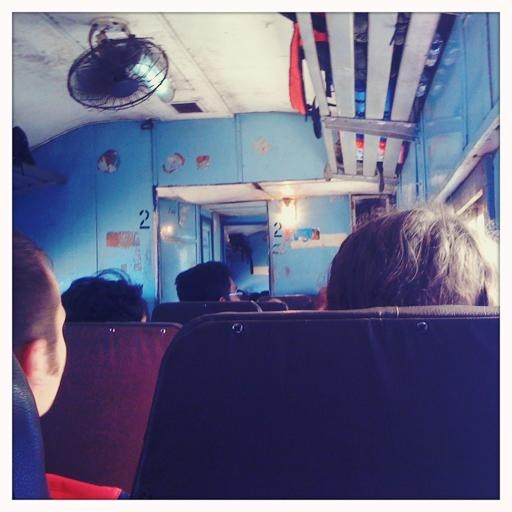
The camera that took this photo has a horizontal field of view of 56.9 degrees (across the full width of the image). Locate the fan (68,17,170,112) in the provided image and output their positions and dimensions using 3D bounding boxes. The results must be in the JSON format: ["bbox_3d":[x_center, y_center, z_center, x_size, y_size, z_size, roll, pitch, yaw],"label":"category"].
[{"bbox_3d":[-0.775,-1.105,2.668,0.402,0.290,0.468,-14,-31,-18],"label":"fan"}]
